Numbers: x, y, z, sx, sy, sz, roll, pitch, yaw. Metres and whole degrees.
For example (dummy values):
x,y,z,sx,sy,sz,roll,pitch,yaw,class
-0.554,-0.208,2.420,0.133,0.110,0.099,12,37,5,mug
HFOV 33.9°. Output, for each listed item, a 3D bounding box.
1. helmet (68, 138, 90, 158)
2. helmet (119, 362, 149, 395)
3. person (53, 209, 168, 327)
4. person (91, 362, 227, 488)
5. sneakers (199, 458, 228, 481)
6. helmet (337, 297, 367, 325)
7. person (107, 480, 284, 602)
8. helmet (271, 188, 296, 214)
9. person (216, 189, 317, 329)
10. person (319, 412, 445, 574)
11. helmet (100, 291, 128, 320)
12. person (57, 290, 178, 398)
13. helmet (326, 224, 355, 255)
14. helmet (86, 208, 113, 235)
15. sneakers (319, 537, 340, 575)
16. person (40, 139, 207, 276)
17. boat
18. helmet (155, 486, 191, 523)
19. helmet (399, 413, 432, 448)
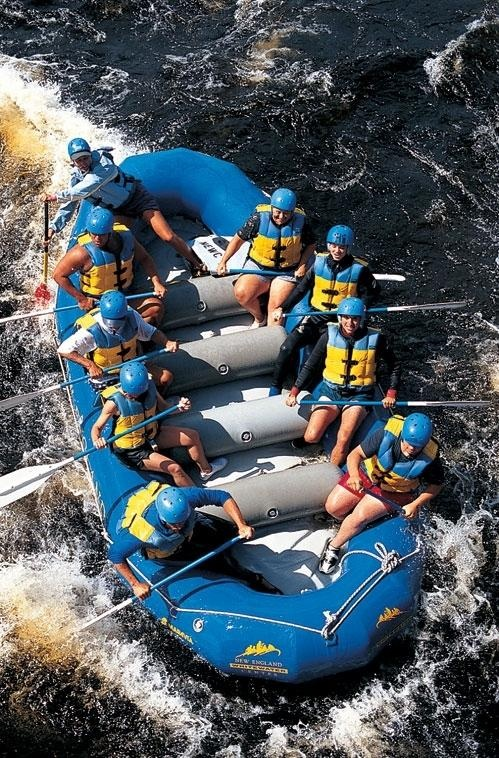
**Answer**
x,y,z,sx,sy,sz,roll,pitch,yaw,class
-1.393,-1.905,6.681,0.164,0.188,0.155,-4,-3,-5,helmet
-0.777,0.004,5.514,0.193,0.226,0.167,2,17,-7,helmet
-1.099,-0.819,6.512,0.922,1.098,0.652,-8,49,-14,person
-0.611,0.341,5.765,0.872,0.985,0.508,-12,24,-43,person
-0.254,0.665,6.180,0.244,0.095,0.098,-41,77,-17,sneakers
0.725,-0.491,5.782,0.176,0.133,0.191,3,0,0,helmet
-0.448,1.027,5.364,1.016,0.834,0.538,-5,20,-29,person
0.250,-1.399,6.569,0.177,0.221,0.164,19,60,10,helmet
0.139,-0.952,6.868,0.909,1.259,0.691,-19,36,-42,person
0.909,0.792,5.622,0.784,1.271,0.434,9,19,15,person
-0.987,-0.518,5.801,0.178,0.170,0.211,-6,52,-15,helmet
-0.957,-0.227,6.054,0.942,0.818,0.674,-9,51,-17,person
0.700,-1.066,6.241,0.181,0.163,0.230,10,-11,8,helmet
-1.133,-1.202,6.188,0.186,0.173,0.207,5,62,-5,helmet
0.561,1.243,5.795,0.123,0.260,0.111,18,-15,-6,sneakers
-1.200,-1.334,7.140,0.978,1.493,0.775,-36,28,8,person
-0.257,0.451,7.095,2.553,0.926,4.456,-17,57,-11,boat
-0.467,0.774,5.078,0.195,0.176,0.219,-27,67,-12,helmet
1.076,0.318,5.326,0.181,0.175,0.228,23,19,0,helmet
